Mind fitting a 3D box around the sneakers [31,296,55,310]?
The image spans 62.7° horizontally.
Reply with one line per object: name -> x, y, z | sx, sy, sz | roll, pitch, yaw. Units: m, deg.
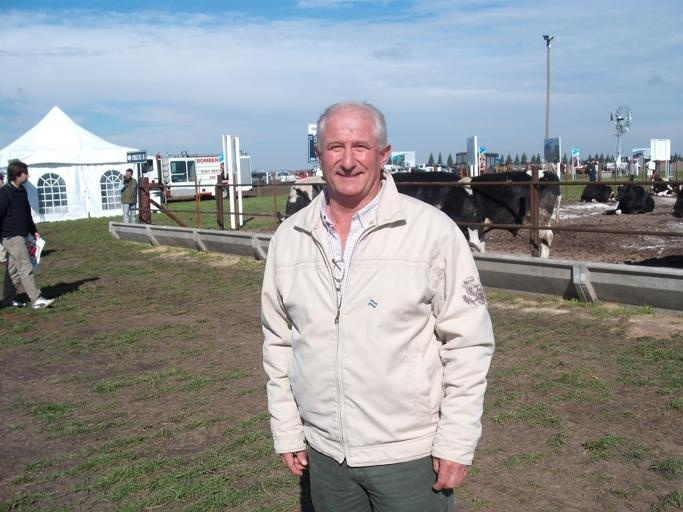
sneakers -> -4.894, 0.791, 9.384 | 0.422, 0.221, 0.165 | -6, 6, -6

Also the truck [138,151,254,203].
truck -> -9.844, -5.176, 38.261 | 7.464, 2.957, 2.452 | -4, -5, -11
